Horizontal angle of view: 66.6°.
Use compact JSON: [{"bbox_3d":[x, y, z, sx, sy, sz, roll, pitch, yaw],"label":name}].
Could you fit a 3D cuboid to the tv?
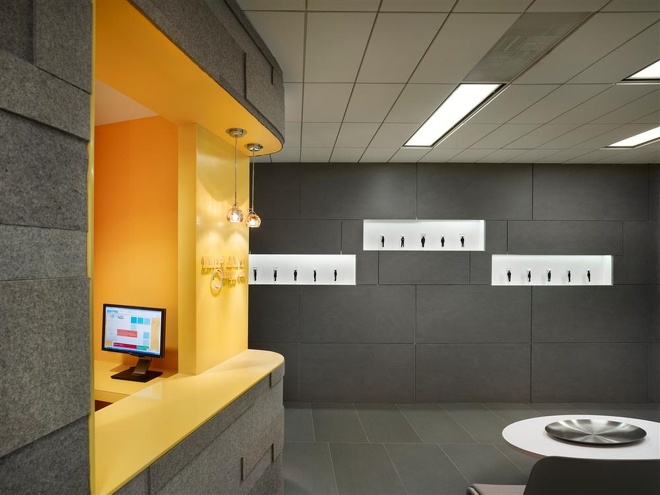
[{"bbox_3d":[-1.563,0.758,4.032,0.509,0.498,0.280,-1,-11,13],"label":"tv"}]
